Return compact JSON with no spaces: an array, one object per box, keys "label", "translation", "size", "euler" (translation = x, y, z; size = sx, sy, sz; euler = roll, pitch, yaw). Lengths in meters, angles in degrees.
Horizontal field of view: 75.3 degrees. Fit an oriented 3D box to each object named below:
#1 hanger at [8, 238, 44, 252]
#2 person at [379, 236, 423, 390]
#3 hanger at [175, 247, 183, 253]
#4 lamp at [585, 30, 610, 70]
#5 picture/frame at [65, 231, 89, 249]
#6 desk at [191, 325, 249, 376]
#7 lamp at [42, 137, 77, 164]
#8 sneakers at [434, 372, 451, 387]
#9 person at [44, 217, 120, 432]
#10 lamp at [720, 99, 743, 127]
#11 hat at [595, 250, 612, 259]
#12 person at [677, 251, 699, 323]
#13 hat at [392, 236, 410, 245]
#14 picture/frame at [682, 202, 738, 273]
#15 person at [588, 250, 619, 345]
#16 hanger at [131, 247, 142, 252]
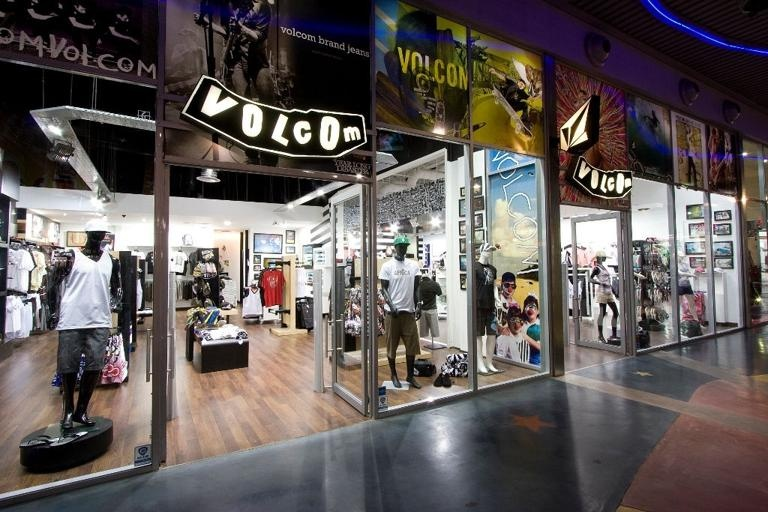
[{"label":"hanger","translation":[-7.061,-0.229,9.795],"size":[0.221,0.254,0.945],"euler":[0,-3,-6]},{"label":"person","translation":[0.245,0.808,7.307],"size":[0.605,2.240,0.488],"euler":[0,-3,-8]},{"label":"hanger","translation":[-5.796,-0.182,14.051],"size":[0.079,0.152,0.151],"euler":[-10,-8,35]},{"label":"lamp","translation":[3.540,-3.456,8.343],"size":[0.305,0.719,0.738],"euler":[-5,22,33]},{"label":"picture/frame","translation":[-6.104,-0.322,9.884],"size":[0.440,0.422,0.043],"euler":[3,-23,-28]},{"label":"desk","translation":[-2.707,1.530,8.374],"size":[0.660,0.469,0.994],"euler":[-1,3,-24]},{"label":"lamp","translation":[-4.992,-1.631,7.712],"size":[0.342,0.181,0.470],"euler":[2,4,-44]},{"label":"sneakers","translation":[0.874,1.835,7.416],"size":[0.264,0.169,0.298],"euler":[-1,-3,8]},{"label":"person","translation":[-3.652,0.807,6.076],"size":[0.711,2.466,0.349],"euler":[2,-4,-37]},{"label":"lamp","translation":[7.137,-2.969,10.261],"size":[0.502,0.530,0.117],"euler":[10,0,-31]},{"label":"hat","translation":[4.073,-0.020,9.243],"size":[0.278,0.192,0.203],"euler":[3,3,35]},{"label":"person","translation":[6.135,0.678,9.995],"size":[0.316,1.288,0.888],"euler":[-2,-4,33]},{"label":"hat","translation":[0.270,-0.235,7.721],"size":[0.237,0.142,0.349],"euler":[0,-4,-6]},{"label":"picture/frame","translation":[6.827,-0.495,10.353],"size":[1.572,1.574,0.439],"euler":[2,-4,-37]},{"label":"person","translation":[4.064,0.778,9.171],"size":[0.458,1.620,0.408],"euler":[-2,-3,24]},{"label":"hanger","translation":[-6.157,-0.170,12.338],"size":[0.148,0.071,0.153],"euler":[-1,-3,22]}]
